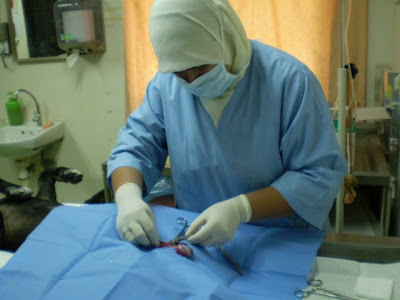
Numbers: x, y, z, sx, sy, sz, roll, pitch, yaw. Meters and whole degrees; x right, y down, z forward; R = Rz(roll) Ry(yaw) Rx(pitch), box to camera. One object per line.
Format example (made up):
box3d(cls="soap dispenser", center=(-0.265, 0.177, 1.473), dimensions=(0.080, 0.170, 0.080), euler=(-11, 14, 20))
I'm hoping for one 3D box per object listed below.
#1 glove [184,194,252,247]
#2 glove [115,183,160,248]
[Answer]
box3d(cls="glove", center=(0.083, 0.309, 1.696), dimensions=(0.286, 0.192, 0.134), euler=(-7, 14, -22))
box3d(cls="glove", center=(-0.283, 0.282, 1.744), dimensions=(0.173, 0.210, 0.281), euler=(-5, 14, -13))
